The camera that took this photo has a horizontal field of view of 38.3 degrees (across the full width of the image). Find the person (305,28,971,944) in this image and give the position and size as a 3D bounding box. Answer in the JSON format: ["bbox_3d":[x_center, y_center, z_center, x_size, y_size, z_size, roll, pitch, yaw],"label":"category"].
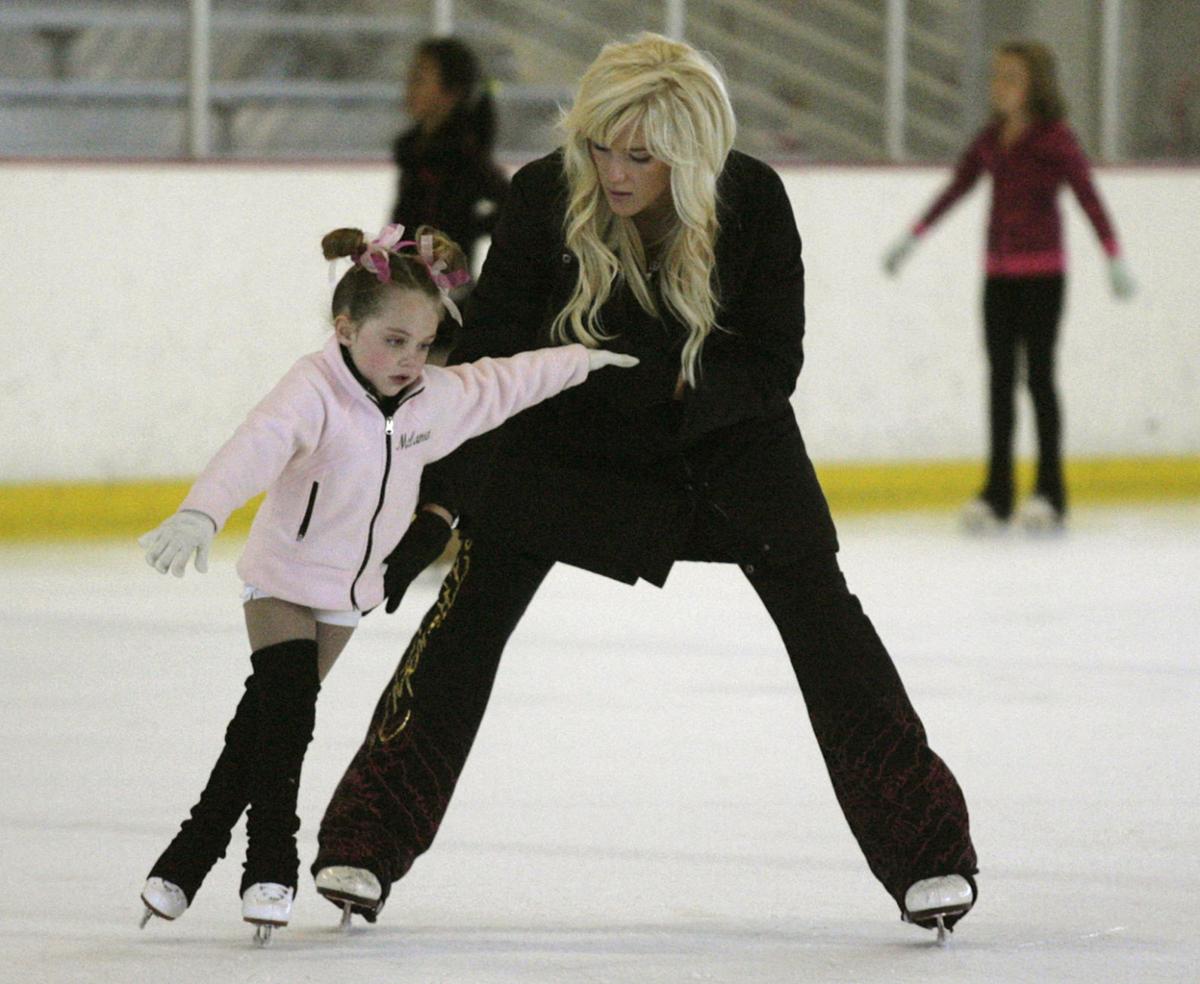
[{"bbox_3d":[0.058,0.007,2.344,0.922,1.158,0.538,1,2,4],"label":"person"}]

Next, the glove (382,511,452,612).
[{"bbox_3d":[-0.246,0.081,2.342,0.074,0.148,0.054,31,-10,-31],"label":"glove"}]

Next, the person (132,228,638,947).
[{"bbox_3d":[-0.322,0.097,2.291,0.634,0.881,0.228,-9,14,-35],"label":"person"}]
